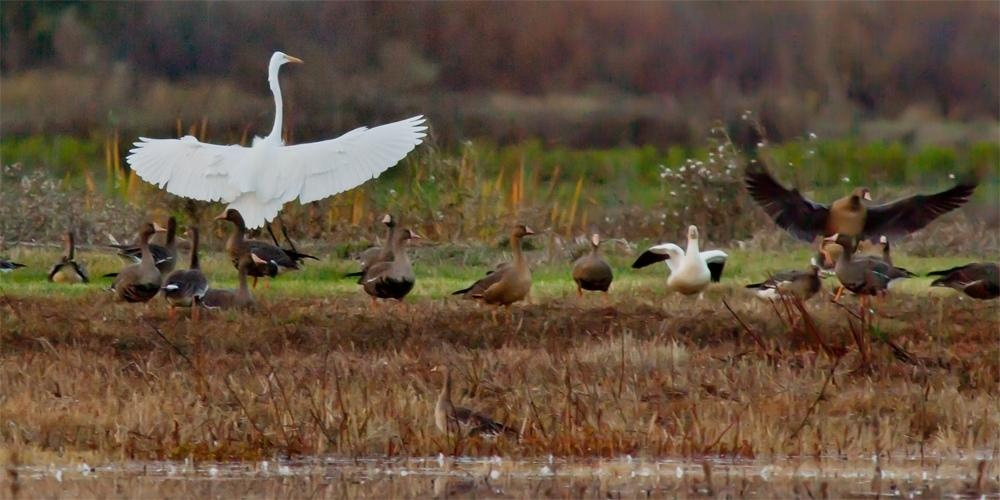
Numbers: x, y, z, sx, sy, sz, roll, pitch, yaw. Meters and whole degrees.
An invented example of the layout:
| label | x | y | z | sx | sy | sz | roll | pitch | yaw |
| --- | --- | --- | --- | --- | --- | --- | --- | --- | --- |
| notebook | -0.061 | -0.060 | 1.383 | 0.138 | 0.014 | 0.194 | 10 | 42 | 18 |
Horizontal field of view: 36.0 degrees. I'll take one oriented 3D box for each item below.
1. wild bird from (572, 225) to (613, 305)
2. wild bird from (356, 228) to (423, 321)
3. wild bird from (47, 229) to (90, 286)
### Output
| label | x | y | z | sx | sy | sz | roll | pitch | yaw |
| --- | --- | --- | --- | --- | --- | --- | --- | --- | --- |
| wild bird | 1.675 | 0.286 | 27.828 | 0.705 | 1.197 | 0.754 | 1 | 11 | 2 |
| wild bird | -1.959 | 0.351 | 27.107 | 0.933 | 1.519 | 0.568 | 0 | 11 | -5 |
| wild bird | -7.987 | 0.334 | 29.058 | 0.538 | 1.202 | 1.248 | 2 | -4 | -14 |
